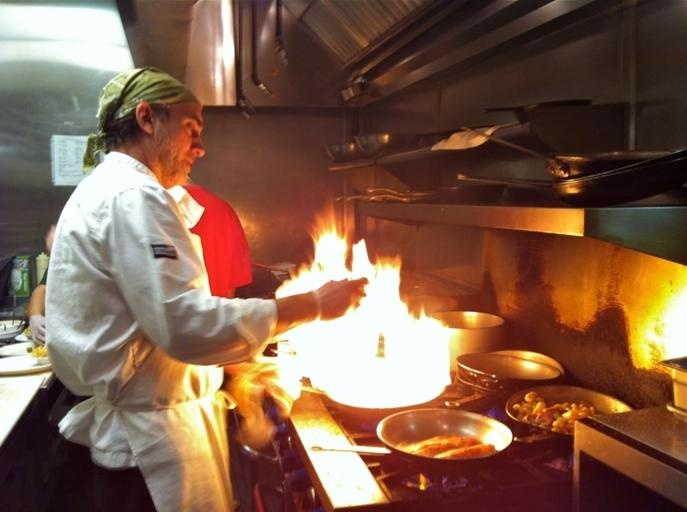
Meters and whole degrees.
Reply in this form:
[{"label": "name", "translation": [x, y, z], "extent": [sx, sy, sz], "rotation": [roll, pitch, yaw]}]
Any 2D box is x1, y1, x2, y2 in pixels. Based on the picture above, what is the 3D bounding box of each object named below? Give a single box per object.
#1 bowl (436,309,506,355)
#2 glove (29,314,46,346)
[{"label": "bowl", "translation": [0.511, 0.313, 2.243], "extent": [0.270, 0.114, 0.314], "rotation": [1, 5, 3]}, {"label": "glove", "translation": [-1.675, 0.397, 2.969], "extent": [0.061, 0.176, 0.129], "rotation": [1, -15, -18]}]
